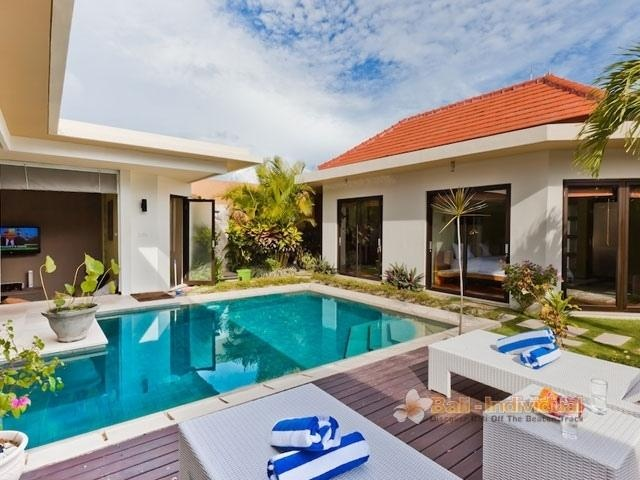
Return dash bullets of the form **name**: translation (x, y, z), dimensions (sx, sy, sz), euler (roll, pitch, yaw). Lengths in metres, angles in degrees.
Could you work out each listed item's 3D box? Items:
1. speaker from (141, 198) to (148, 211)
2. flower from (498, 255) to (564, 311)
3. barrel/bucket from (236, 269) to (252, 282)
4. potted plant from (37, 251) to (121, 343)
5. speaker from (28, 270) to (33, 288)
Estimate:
- **speaker**: translation (-4.481, -0.892, 10.144), dimensions (0.130, 0.317, 0.191), euler (-1, 3, 29)
- **flower**: translation (4.237, 0.964, 8.067), dimensions (0.575, 1.022, 0.987), euler (-4, 3, -36)
- **barrel/bucket**: translation (-2.292, 1.072, 12.147), dimensions (0.398, 0.249, 0.374), euler (-1, -1, 0)
- **potted plant**: translation (-5.075, 1.166, 8.258), dimensions (1.664, 1.943, 1.671), euler (1, -1, -4)
- **speaker**: translation (-7.893, 1.027, 10.793), dimensions (0.143, 0.449, 0.204), euler (-3, 3, -28)
